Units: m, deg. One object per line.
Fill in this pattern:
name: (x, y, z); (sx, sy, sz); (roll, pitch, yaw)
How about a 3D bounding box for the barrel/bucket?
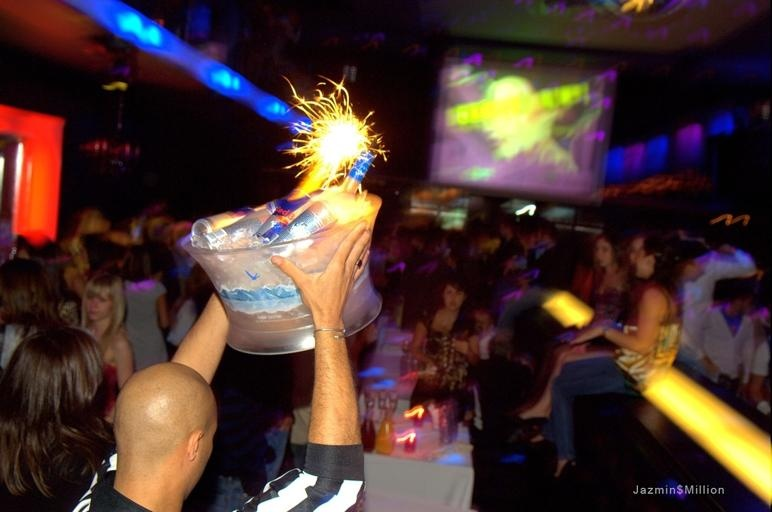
barrel/bucket: (-0.524, 0.084, 3.190); (1.014, 0.595, 0.931); (-8, 11, 2)
